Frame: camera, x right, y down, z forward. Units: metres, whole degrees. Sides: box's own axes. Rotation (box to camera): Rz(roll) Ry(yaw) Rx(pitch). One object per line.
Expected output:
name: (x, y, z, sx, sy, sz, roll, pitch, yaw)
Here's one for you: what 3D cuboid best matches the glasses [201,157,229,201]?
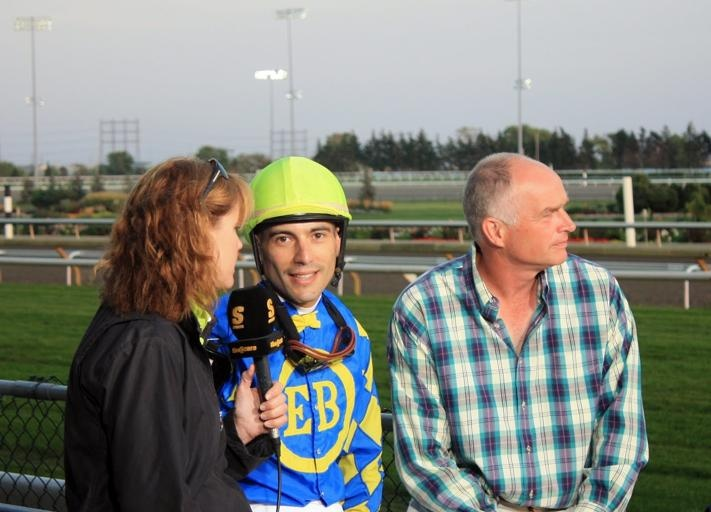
glasses: (-0.965, -0.551, 10.220, 0.233, 0.069, 0.232, -49, -13, 12)
